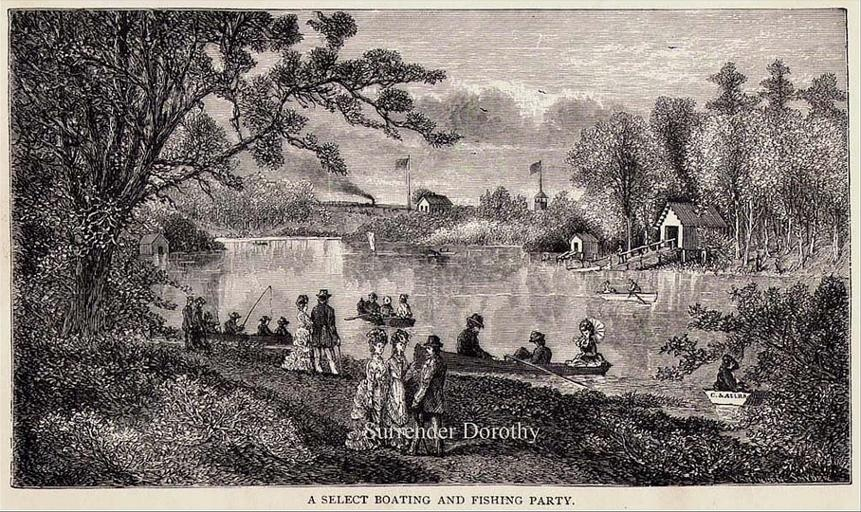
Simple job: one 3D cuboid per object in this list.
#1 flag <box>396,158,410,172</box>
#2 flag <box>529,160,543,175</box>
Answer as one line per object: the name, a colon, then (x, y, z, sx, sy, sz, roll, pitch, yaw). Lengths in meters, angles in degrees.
flag: (-0.677, -2.241, 23.633, 0.349, 0.332, 0.033, 1, -3, -1)
flag: (2.558, -2.158, 23.621, 0.304, 0.327, 0.056, 0, 2, 5)
